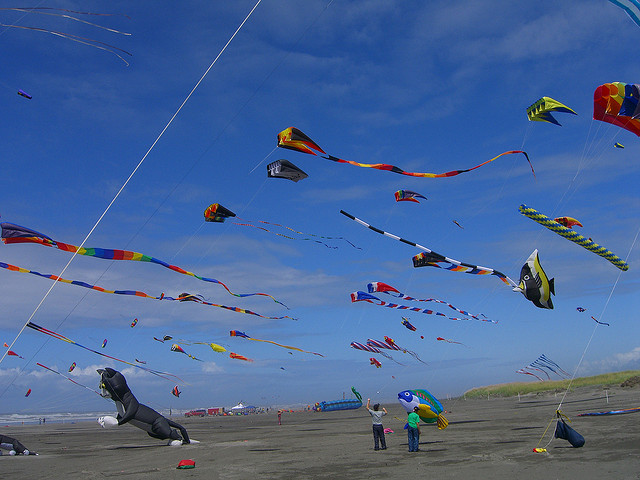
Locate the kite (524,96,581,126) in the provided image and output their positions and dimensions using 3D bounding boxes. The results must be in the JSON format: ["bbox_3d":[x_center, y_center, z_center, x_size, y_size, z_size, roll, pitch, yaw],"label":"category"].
[{"bbox_3d":[10.256,-5.934,25.118,1.225,1.211,0.333,-2,-53,56],"label":"kite"}]

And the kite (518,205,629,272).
[{"bbox_3d":[10.711,-0.113,23.802,3.611,3.387,2.057,23,-43,-39],"label":"kite"}]

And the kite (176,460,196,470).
[{"bbox_3d":[-5.278,8.789,21.784,0.696,0.343,0.404,1,-29,-10],"label":"kite"}]

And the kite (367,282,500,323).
[{"bbox_3d":[7.694,4.119,39.827,8.404,0.685,0.861,11,-18,-5],"label":"kite"}]
